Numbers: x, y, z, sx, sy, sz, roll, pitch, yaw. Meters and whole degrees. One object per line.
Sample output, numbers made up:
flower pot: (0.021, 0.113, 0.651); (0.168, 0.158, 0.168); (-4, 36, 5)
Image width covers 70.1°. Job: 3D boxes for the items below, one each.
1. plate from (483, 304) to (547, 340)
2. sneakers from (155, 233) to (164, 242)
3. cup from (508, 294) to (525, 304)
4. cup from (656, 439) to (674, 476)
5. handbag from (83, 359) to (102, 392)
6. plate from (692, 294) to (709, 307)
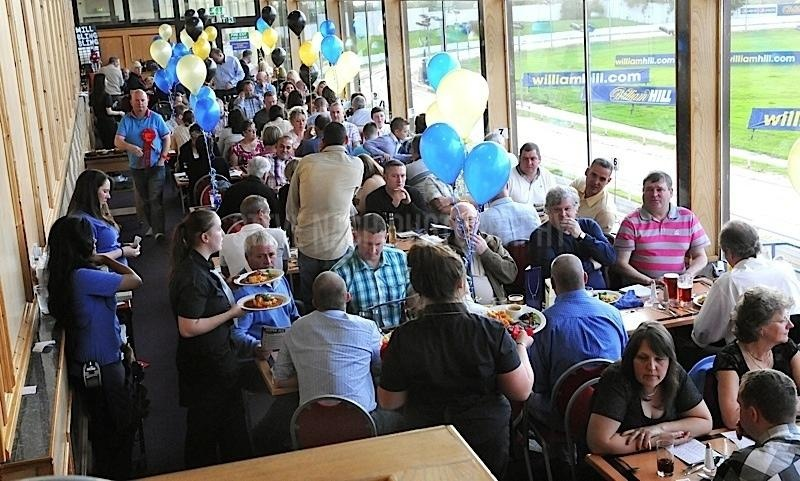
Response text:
plate: (0.976, 0.633, 4.805); (0.391, 0.103, 0.724); (-9, 16, -22)
sneakers: (-4.302, -0.051, 10.183); (0.138, 0.102, 0.141); (-2, 5, -6)
cup: (1.117, 0.570, 5.465); (0.114, 0.111, 0.112); (-1, 9, 0)
cup: (1.763, 1.452, 3.776); (0.106, 0.215, 0.100); (-3, 14, 1)
handbag: (-2.783, 1.217, 5.128); (0.148, 0.230, 0.089); (-8, 15, -17)
plate: (2.914, 0.588, 5.505); (0.135, 0.028, 0.141); (2, 34, 27)
